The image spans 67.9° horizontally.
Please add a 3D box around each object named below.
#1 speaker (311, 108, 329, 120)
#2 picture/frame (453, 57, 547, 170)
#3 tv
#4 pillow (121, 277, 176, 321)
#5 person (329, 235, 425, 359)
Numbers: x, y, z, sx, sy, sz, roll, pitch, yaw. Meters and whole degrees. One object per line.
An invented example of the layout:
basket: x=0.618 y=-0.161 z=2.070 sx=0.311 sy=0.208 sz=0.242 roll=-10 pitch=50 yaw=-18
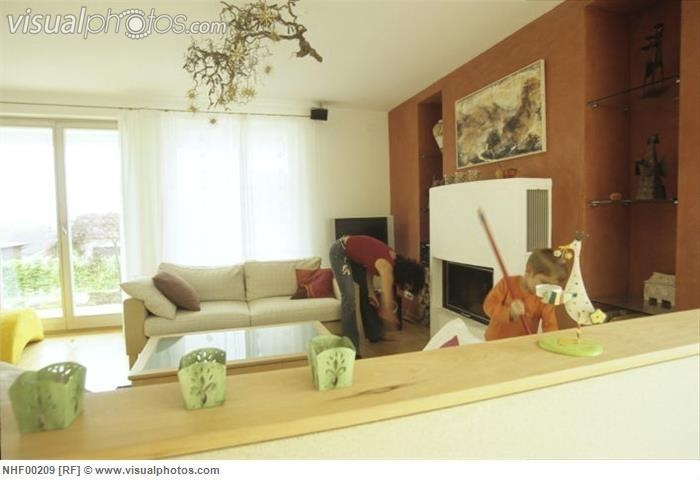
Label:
speaker: x=-0.319 y=-1.344 z=5.517 sx=0.138 sy=0.061 sz=0.182 roll=0 pitch=6 yaw=-7
picture/frame: x=1.339 y=-1.116 z=4.543 sx=0.042 sy=0.755 sz=1.112 roll=-2 pitch=0 yaw=-23
tv: x=1.096 y=0.458 z=4.806 sx=0.028 sy=0.489 sz=0.691 roll=-4 pitch=7 yaw=-29
pillow: x=-1.747 y=0.506 z=4.548 sx=0.404 sy=0.346 sz=0.323 roll=-7 pitch=12 yaw=-17
person: x=0.180 y=0.455 z=4.972 sx=1.203 sy=1.380 sz=0.711 roll=1 pitch=5 yaw=8
